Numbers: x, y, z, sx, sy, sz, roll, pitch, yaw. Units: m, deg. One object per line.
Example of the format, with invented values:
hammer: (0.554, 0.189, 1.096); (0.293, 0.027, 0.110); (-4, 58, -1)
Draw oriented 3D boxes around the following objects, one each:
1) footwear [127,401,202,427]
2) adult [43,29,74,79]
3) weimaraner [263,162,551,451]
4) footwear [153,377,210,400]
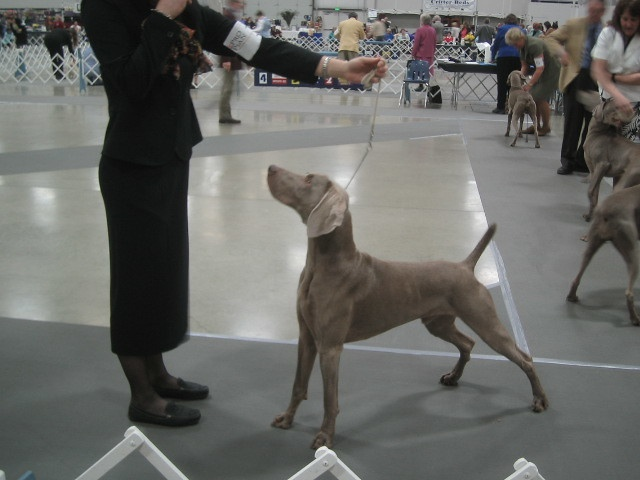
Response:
footwear: (-0.809, 0.906, 2.720); (0.345, 0.117, 0.147); (2, -2, 1)
adult: (-9.802, -7.027, 19.859); (1.056, 1.874, 1.992); (-5, 21, -25)
weimaraner: (0.365, 0.328, 2.644); (1.254, 1.313, 0.440); (-3, 19, -20)
footwear: (-0.761, 0.830, 2.918); (0.307, 0.129, 0.121); (0, 5, -2)
